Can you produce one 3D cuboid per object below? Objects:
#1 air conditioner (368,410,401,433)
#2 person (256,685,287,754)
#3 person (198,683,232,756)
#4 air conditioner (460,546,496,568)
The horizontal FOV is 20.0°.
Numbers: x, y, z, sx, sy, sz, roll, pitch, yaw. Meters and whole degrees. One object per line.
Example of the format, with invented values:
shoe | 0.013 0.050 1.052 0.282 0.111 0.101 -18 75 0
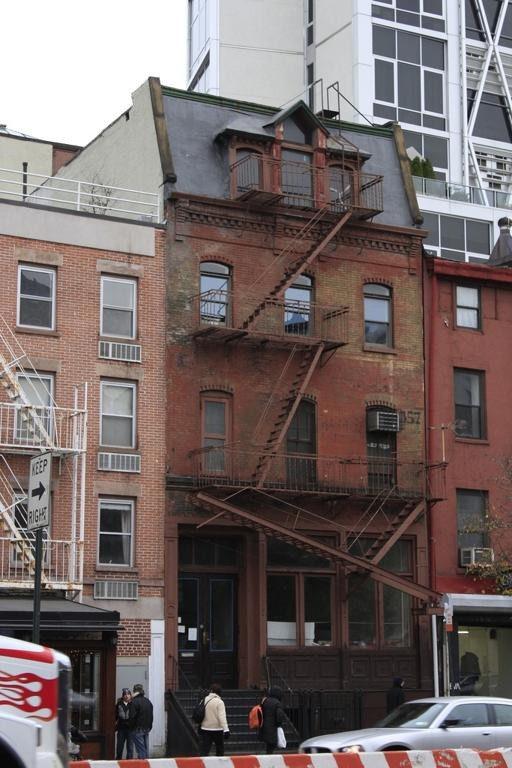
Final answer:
air conditioner | 2.945 0.809 33.490 0.544 0.495 0.795 3 -2 35
person | 0.223 5.369 23.409 0.414 1.053 0.929 -2 -16 0
person | -0.711 5.428 23.579 0.445 1.101 0.765 -1 -15 -3
air conditioner | 5.046 3.925 33.317 0.773 0.570 1.100 -5 -17 7
